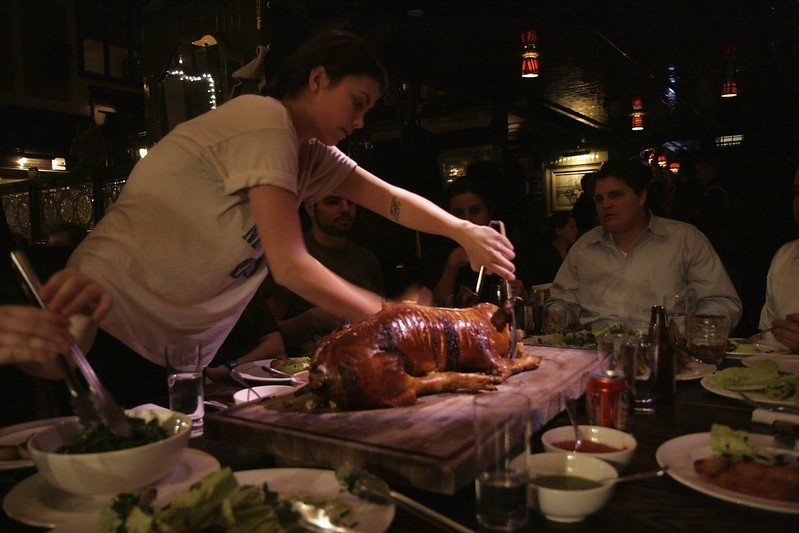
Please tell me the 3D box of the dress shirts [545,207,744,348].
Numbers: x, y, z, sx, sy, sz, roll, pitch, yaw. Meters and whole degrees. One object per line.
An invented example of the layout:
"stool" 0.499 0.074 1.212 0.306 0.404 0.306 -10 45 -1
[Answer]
"dress shirts" 1.995 0.075 5.372 1.862 1.046 0.972 -2 -3 43

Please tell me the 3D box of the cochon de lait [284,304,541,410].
"cochon de lait" 0.035 0.352 3.234 0.844 0.282 0.608 -5 -5 -32
